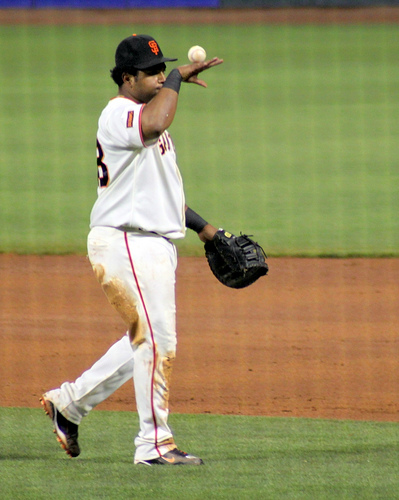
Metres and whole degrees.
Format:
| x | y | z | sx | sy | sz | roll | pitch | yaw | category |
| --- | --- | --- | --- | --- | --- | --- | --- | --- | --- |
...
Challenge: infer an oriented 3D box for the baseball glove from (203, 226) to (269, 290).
| x | y | z | sx | sy | sz | roll | pitch | yaw | category |
| --- | --- | --- | --- | --- | --- | --- | --- | --- | --- |
| 0.192 | 0.009 | 5.923 | 0.277 | 0.345 | 0.168 | -23 | -27 | -35 | baseball glove |
